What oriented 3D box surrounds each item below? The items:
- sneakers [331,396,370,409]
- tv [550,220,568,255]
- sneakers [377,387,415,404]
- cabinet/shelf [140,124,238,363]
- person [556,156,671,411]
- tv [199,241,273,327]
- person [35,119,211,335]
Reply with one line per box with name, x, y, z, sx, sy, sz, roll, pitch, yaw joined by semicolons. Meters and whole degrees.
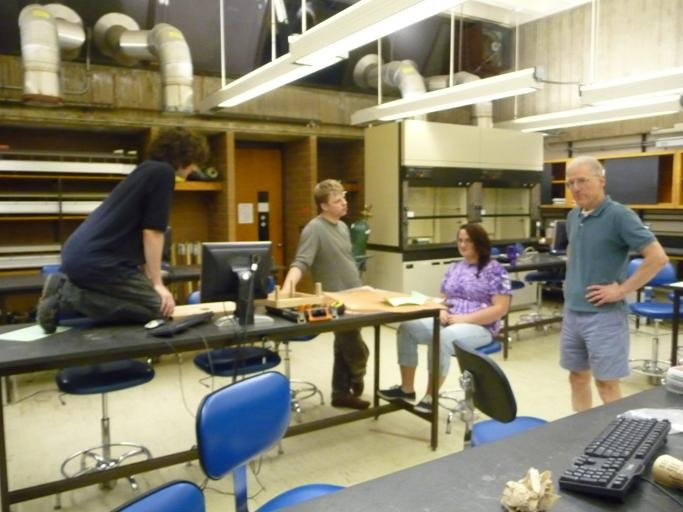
sneakers;0.087;1.285;5.043;0.370;0.145;0.120;-1;4;4
tv;2.805;-0.238;7.455;0.327;0.429;0.308;2;16;27
sneakers;0.460;1.155;4.709;0.280;0.104;0.114;3;0;35
cabinet/shelf;-1.298;-0.257;4.044;0.496;1.396;0.604;14;-3;-43
person;1.833;0.221;3.883;0.612;1.806;0.323;2;9;41
tv;-0.689;0.125;3.814;0.526;0.410;0.164;-2;14;-37
person;-1.811;-0.271;4.413;1.419;1.782;0.955;1;11;-40
